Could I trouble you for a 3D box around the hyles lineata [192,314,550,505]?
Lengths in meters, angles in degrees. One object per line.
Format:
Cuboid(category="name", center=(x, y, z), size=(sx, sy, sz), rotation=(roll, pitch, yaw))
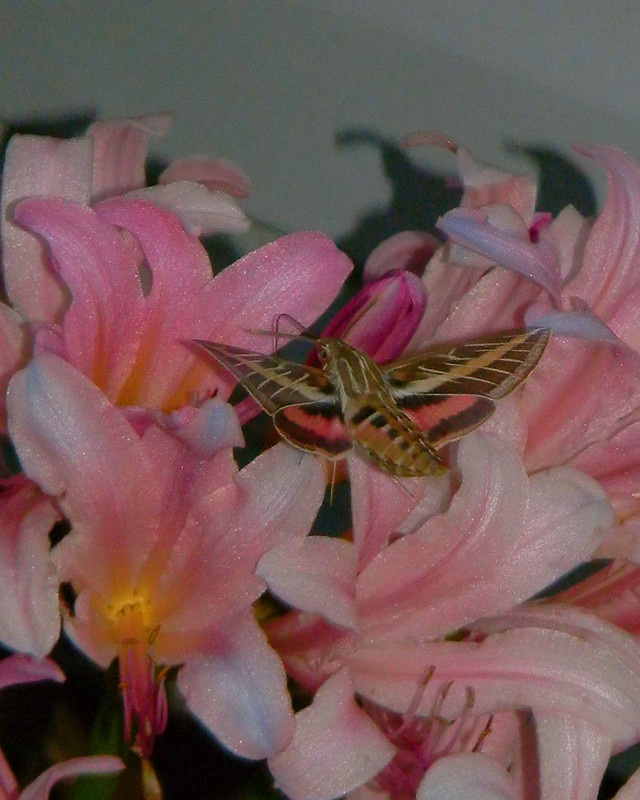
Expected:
Cuboid(category="hyles lineata", center=(0.037, -0.004, 0.577), size=(0.144, 0.038, 0.107), rotation=(-4, 32, -37))
